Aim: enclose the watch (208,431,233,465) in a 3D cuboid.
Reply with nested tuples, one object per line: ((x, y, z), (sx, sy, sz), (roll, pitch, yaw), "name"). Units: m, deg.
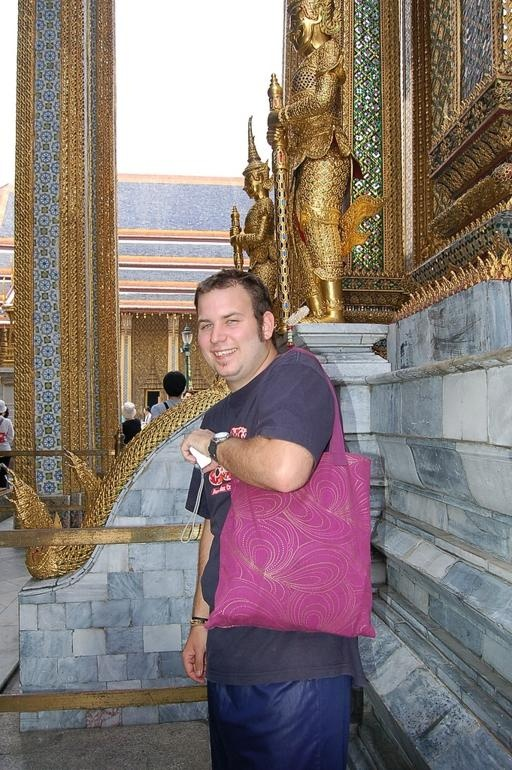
((-0.081, 0.142, 1.800), (0.038, 0.055, 0.062), (38, 31, 19), "watch")

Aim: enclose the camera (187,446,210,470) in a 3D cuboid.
((-0.139, 0.176, 1.908), (0.021, 0.062, 0.044), (-45, -15, -30), "camera")
